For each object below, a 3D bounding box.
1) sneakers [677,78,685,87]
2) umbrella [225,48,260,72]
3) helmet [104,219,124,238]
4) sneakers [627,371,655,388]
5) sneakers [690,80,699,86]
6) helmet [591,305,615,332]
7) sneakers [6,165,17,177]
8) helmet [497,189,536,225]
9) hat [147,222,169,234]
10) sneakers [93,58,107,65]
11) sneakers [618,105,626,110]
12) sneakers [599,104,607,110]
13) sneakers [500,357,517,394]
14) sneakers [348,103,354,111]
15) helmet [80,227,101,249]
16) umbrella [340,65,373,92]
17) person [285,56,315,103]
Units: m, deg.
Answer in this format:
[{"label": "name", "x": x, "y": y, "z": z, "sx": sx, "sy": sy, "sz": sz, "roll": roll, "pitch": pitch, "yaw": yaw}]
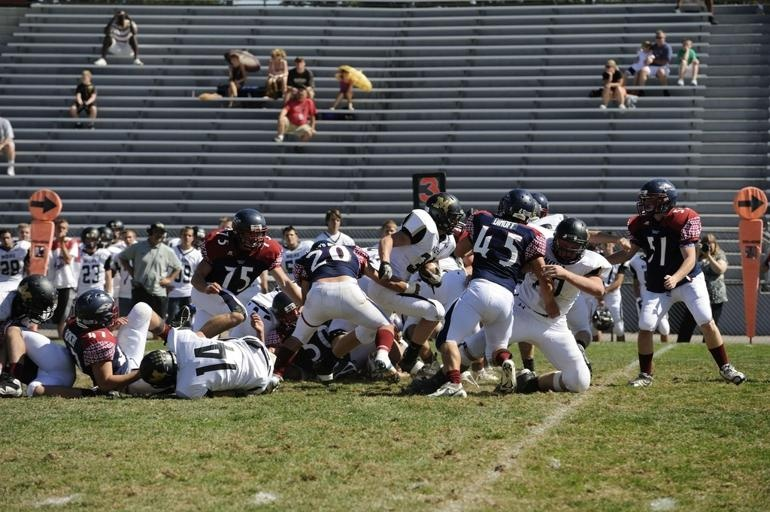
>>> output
[{"label": "sneakers", "x": 6.588, "y": -4.215, "z": 33.630, "sx": 0.154, "sy": 0.151, "sz": 0.093, "roll": 3, "pitch": 1, "yaw": -1}, {"label": "umbrella", "x": -3.560, "y": -4.779, "z": 34.677, "sx": 0.634, "sy": 0.208, "sz": 0.641, "roll": 27, "pitch": 26, "yaw": -21}, {"label": "helmet", "x": -5.689, "y": -0.590, "z": 29.996, "sx": 0.387, "sy": 0.427, "sz": 0.480, "roll": -1, "pitch": -3, "yaw": -10}, {"label": "sneakers", "x": 4.101, "y": 2.217, "z": 24.586, "sx": 0.510, "sy": 0.220, "sz": 0.170, "roll": 0, "pitch": 3, "yaw": -7}, {"label": "sneakers", "x": 6.916, "y": -4.215, "z": 33.735, "sx": 0.121, "sy": 0.133, "sz": 0.137, "roll": 4, "pitch": -8, "yaw": -2}, {"label": "helmet", "x": 4.219, "y": 1.325, "z": 29.495, "sx": 0.271, "sy": 0.534, "sz": 0.522, "roll": -20, "pitch": -9, "yaw": 32}, {"label": "sneakers", "x": -8.674, "y": -2.033, "z": 33.398, "sx": 0.153, "sy": 0.243, "sz": 0.243, "roll": 3, "pitch": -3, "yaw": -13}, {"label": "helmet", "x": 2.080, "y": -0.881, "z": 24.105, "sx": 0.502, "sy": 0.572, "sz": 0.654, "roll": 24, "pitch": 25, "yaw": 3}, {"label": "hat", "x": -4.574, "y": -0.563, "z": 28.190, "sx": 0.331, "sy": 0.184, "sz": 0.227, "roll": -8, "pitch": -4, "yaw": 41}, {"label": "sneakers", "x": -6.995, "y": -4.905, "z": 34.979, "sx": 0.316, "sy": 0.201, "sz": 0.183, "roll": 8, "pitch": 15, "yaw": 7}, {"label": "sneakers", "x": 5.213, "y": -3.596, "z": 33.474, "sx": 0.169, "sy": 0.128, "sz": 0.078, "roll": 1, "pitch": 0, "yaw": 6}, {"label": "sneakers", "x": 4.803, "y": -3.613, "z": 33.578, "sx": 0.144, "sy": 0.103, "sz": 0.261, "roll": -1, "pitch": 0, "yaw": 4}, {"label": "sneakers", "x": 1.906, "y": 2.081, "z": 23.996, "sx": 0.231, "sy": 0.571, "sz": 0.250, "roll": 1, "pitch": 13, "yaw": 16}, {"label": "sneakers", "x": -0.977, "y": -3.690, "z": 34.278, "sx": 0.090, "sy": 0.113, "sz": 0.270, "roll": -15, "pitch": 18, "yaw": -14}, {"label": "helmet", "x": -5.985, "y": -0.374, "z": 29.078, "sx": 0.369, "sy": 0.412, "sz": 0.440, "roll": 2, "pitch": -6, "yaw": 0}, {"label": "umbrella", "x": -0.845, "y": -4.341, "z": 33.849, "sx": 0.512, "sy": 0.610, "sz": 0.752, "roll": 1, "pitch": 0, "yaw": 31}, {"label": "person", "x": -2.106, "y": -4.298, "z": 33.374, "sx": 0.593, "sy": 0.965, "sz": 0.588, "roll": 1, "pitch": 0, "yaw": -9}]
